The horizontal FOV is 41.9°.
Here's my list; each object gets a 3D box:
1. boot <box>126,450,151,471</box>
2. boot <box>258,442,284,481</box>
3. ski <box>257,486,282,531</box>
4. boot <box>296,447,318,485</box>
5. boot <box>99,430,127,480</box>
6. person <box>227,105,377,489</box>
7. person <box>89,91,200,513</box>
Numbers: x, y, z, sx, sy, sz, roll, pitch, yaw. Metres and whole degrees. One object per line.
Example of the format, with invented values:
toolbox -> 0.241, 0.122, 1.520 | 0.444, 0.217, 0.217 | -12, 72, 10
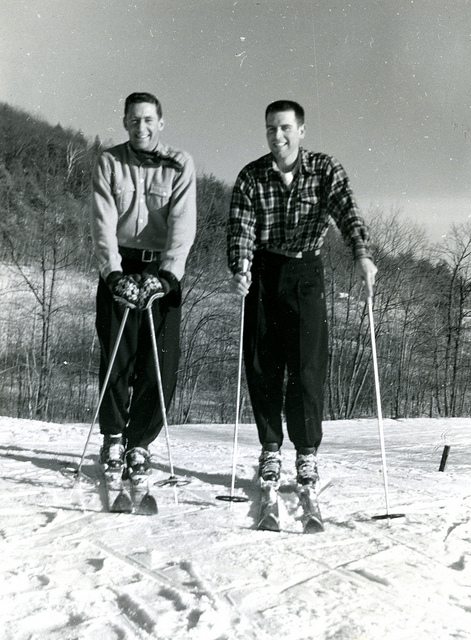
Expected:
boot -> -0.469, 0.670, 2.942 | 0.117, 0.087, 0.115 | 1, -5, -2
boot -> 0.177, 0.677, 2.944 | 0.101, 0.171, 0.284 | 1, 15, 7
ski -> 0.155, 0.807, 2.710 | 0.104, 0.074, 0.497 | -2, 1, 5
boot -> 0.327, 0.667, 2.830 | 0.095, 0.153, 0.152 | 0, -4, 6
boot -> -0.614, 0.677, 3.094 | 0.093, 0.306, 0.127 | 3, -26, -14
person -> 0.301, -0.116, 2.895 | 0.644, 1.772, 0.353 | 0, -4, 8
person -> -0.478, -0.116, 3.141 | 0.531, 1.979, 0.613 | 2, -4, -14
